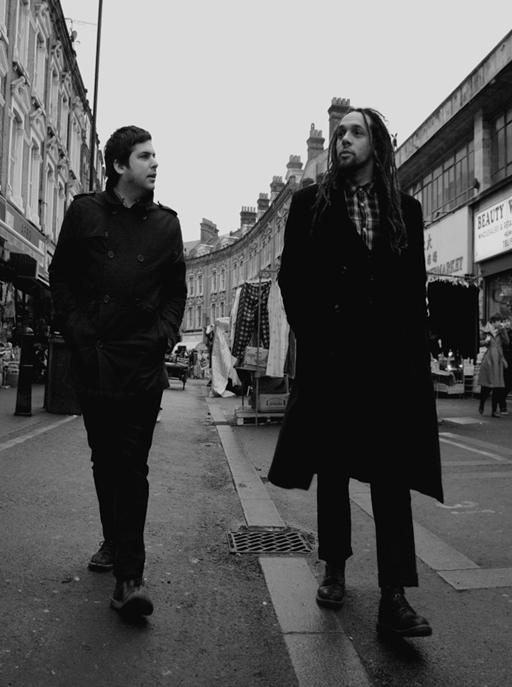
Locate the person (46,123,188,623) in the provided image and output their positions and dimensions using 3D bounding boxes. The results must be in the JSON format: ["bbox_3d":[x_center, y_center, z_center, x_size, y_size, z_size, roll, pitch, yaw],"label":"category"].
[{"bbox_3d":[-0.533,0.032,2.260,0.516,1.836,0.466,1,-3,-9],"label":"person"}]

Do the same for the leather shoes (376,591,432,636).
[{"bbox_3d":[0.456,0.869,1.927,0.079,0.165,0.221,6,-23,-24],"label":"leather shoes"}]

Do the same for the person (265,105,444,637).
[{"bbox_3d":[0.371,0.015,2.221,0.625,1.879,0.395,0,-3,31],"label":"person"}]

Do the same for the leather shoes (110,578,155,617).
[{"bbox_3d":[-0.435,0.889,2.102,0.069,0.120,0.222,6,-25,-20],"label":"leather shoes"}]

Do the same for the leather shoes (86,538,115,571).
[{"bbox_3d":[-0.681,0.927,2.617,0.049,0.118,0.167,1,-29,-5],"label":"leather shoes"}]

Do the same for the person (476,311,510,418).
[{"bbox_3d":[4.826,0.408,12.234,0.542,2.083,0.951,0,-3,25],"label":"person"}]
